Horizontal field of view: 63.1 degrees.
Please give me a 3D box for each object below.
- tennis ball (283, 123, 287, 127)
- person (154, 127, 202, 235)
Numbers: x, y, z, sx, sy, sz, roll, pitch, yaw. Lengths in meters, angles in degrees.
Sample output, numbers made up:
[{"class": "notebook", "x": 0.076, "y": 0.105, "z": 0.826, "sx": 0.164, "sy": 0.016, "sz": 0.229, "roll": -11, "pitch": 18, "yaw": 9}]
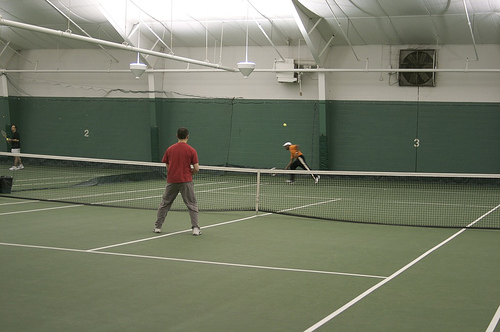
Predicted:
[{"class": "tennis ball", "x": 1.775, "y": -2.087, "z": 20.565, "sx": 0.124, "sy": 0.130, "sz": 0.047, "roll": 2, "pitch": -11, "yaw": -5}, {"class": "person", "x": -1.508, "y": 0.313, "z": 8.579, "sx": 0.948, "sy": 2.208, "sz": 0.401, "roll": 1, "pitch": 6, "yaw": -3}]
